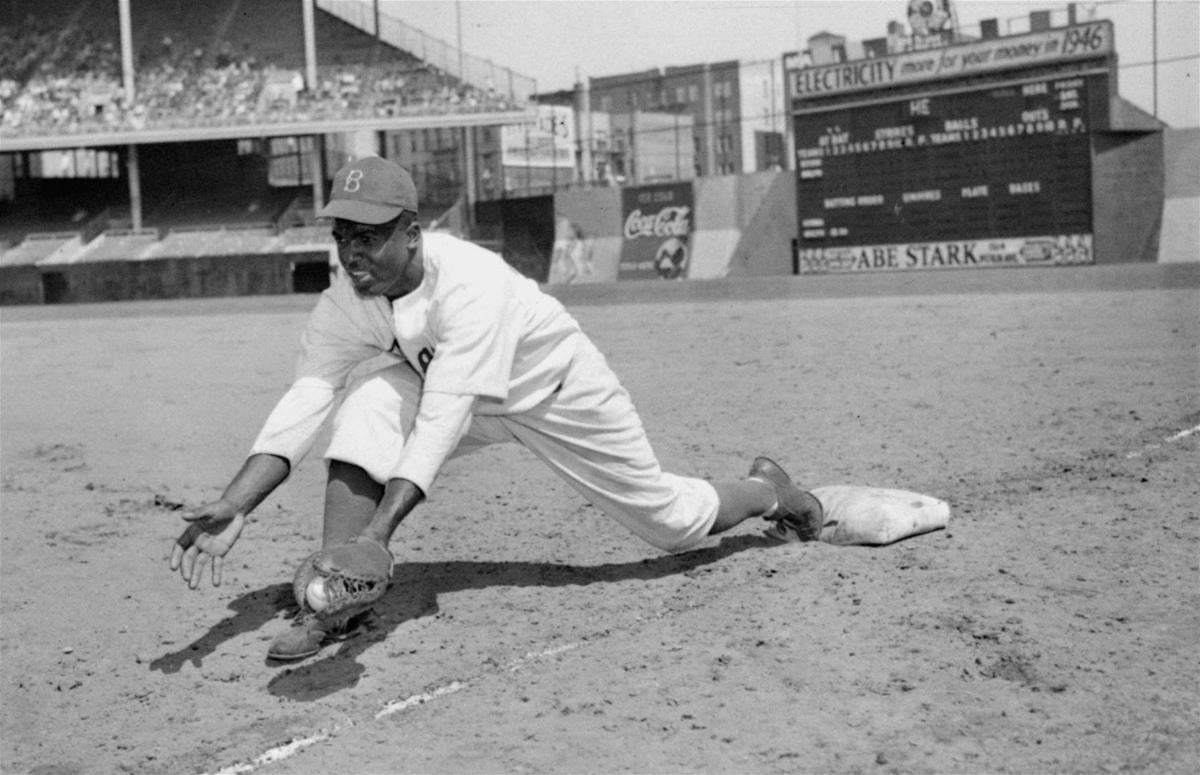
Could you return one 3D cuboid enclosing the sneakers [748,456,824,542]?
[{"bbox_3d":[1.052,0.689,8.208,0.226,0.292,0.665,-24,-39,24],"label":"sneakers"}]

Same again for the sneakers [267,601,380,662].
[{"bbox_3d":[-1.494,1.267,7.516,0.208,0.265,0.656,12,14,34],"label":"sneakers"}]

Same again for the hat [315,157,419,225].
[{"bbox_3d":[-1.183,-1.062,7.330,0.470,0.358,0.647,3,13,18],"label":"hat"}]
